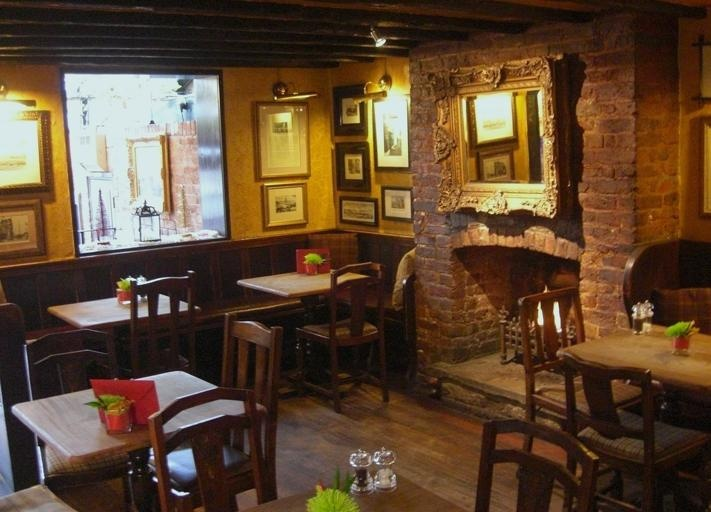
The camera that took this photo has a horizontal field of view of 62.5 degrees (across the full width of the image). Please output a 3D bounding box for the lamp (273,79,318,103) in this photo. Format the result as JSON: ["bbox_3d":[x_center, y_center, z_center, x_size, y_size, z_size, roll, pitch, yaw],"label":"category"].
[{"bbox_3d":[-0.696,-2.019,7.139,0.539,0.255,0.513,-8,12,-22],"label":"lamp"}]

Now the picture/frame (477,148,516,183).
[{"bbox_3d":[1.283,-0.815,5.280,0.029,0.340,0.381,-1,1,-44],"label":"picture/frame"}]

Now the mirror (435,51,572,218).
[{"bbox_3d":[1.335,-1.078,5.138,0.240,1.442,1.603,-11,11,-38],"label":"mirror"}]

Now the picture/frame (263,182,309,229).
[{"bbox_3d":[-0.891,-0.631,7.359,0.615,0.520,0.059,-7,7,-33],"label":"picture/frame"}]

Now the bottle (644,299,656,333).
[{"bbox_3d":[2.095,0.435,4.199,0.053,0.186,0.175,2,13,28],"label":"bottle"}]

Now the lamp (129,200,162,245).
[{"bbox_3d":[-2.816,-0.465,7.736,0.403,0.572,0.398,7,5,-9],"label":"lamp"}]

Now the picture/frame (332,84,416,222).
[{"bbox_3d":[0.257,-1.254,6.962,0.097,1.889,1.750,-10,12,-39],"label":"picture/frame"}]

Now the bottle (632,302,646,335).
[{"bbox_3d":[2.013,0.438,4.183,0.074,0.185,0.163,2,12,25],"label":"bottle"}]

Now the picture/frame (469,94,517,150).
[{"bbox_3d":[1.251,-1.206,5.258,0.569,0.550,0.064,3,12,43],"label":"picture/frame"}]

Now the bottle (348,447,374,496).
[{"bbox_3d":[0.027,0.937,2.612,0.101,0.219,0.281,-4,11,0],"label":"bottle"}]

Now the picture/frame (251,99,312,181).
[{"bbox_3d":[-0.897,-1.441,7.296,0.850,0.946,0.079,-13,18,-42],"label":"picture/frame"}]
